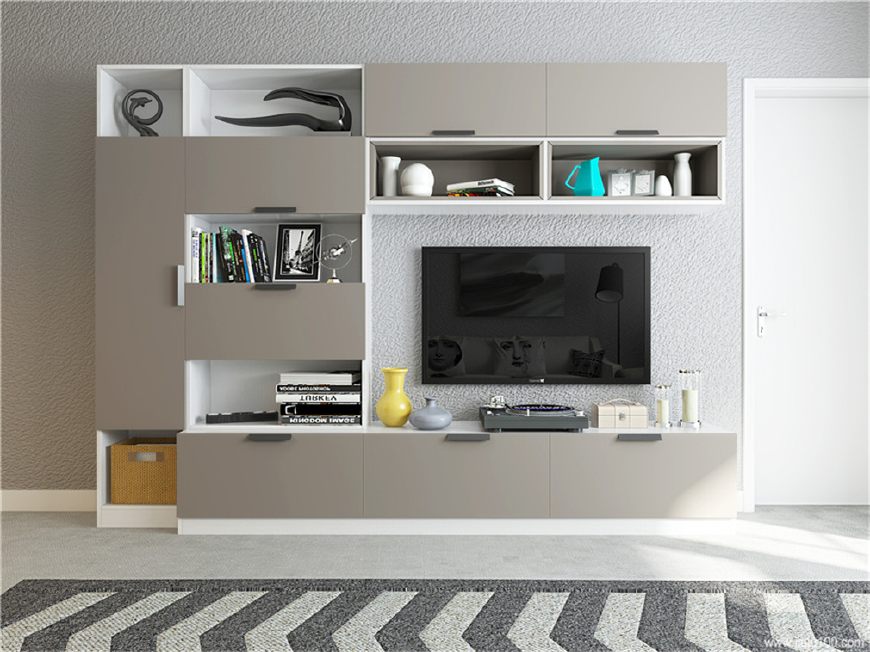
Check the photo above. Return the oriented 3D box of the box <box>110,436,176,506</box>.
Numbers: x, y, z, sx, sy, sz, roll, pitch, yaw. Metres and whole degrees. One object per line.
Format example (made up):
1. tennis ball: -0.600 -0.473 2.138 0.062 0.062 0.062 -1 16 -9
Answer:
1. box: -1.676 0.855 4.483 0.429 0.215 0.390 1 -3 0

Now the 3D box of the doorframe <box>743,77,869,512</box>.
1. doorframe: 2.319 -0.159 4.712 0.712 2.449 0.722 0 16 2

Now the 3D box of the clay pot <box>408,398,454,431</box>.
1. clay pot: -0.033 0.500 4.333 0.206 0.129 0.203 -1 -3 0

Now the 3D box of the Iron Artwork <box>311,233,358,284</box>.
1. Iron Artwork: -0.626 -0.419 4.598 0.326 0.356 0.132 7 16 -6

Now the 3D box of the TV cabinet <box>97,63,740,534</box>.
1. TV cabinet: -0.075 -0.139 4.386 3.326 2.062 0.486 0 -6 0

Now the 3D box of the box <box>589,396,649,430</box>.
1. box: 1.050 0.509 4.325 0.255 0.128 0.176 0 -2 3

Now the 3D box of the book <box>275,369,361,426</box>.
1. book: -0.686 0.413 4.528 0.495 0.200 0.323 0 1 0
